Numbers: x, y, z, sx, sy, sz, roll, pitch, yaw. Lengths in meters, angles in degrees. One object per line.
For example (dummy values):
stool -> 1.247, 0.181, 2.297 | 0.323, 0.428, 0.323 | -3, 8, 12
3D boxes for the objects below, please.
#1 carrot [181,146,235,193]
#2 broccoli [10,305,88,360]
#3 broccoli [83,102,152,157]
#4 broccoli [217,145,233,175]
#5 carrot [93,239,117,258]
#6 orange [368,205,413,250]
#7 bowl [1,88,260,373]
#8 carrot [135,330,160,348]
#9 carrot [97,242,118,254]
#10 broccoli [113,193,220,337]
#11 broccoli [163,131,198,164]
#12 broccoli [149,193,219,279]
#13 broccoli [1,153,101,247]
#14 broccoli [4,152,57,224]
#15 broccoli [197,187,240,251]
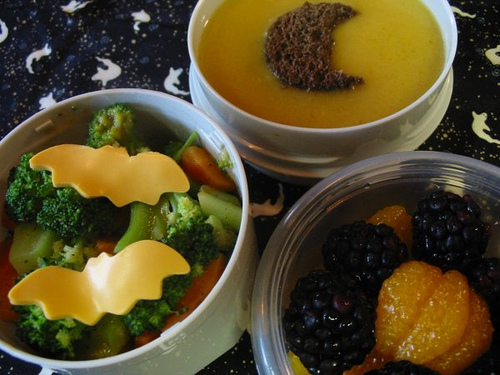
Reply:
carrot -> -0.113, -0.048, 1.301 | 0.147, 0.050, 0.085 | 35, 105, 8
broccoli -> -0.426, 0.301, 1.107 | 0.137, 0.056, 0.130 | -36, 95, 0
broccoli -> -0.324, -0.140, 1.248 | 0.081, 0.106, 0.123 | -12, 93, 17
broccoli -> -0.061, -0.070, 1.218 | 0.038, 0.022, 0.057 | -42, 56, 42
carrot -> -0.341, 0.138, 1.183 | 0.044, 0.010, 0.049 | 6, 63, -9
orange -> 0.353, 0.078, 1.279 | 0.102, 0.093, 0.089 | 23, 57, 38
bowl -> -0.277, 0.110, 1.265 | 0.558, 0.246, 0.735 | 0, 78, -1
carrot -> -0.225, 0.327, 1.106 | 0.042, 0.033, 0.016 | -15, 101, 6
carrot -> -0.333, 0.140, 1.182 | 0.030, 0.007, 0.032 | 13, 60, -5
broccoli -> -0.160, 0.201, 1.220 | 0.223, 0.078, 0.312 | 27, 79, 27
broccoli -> -0.173, -0.099, 1.275 | 0.066, 0.061, 0.082 | 19, 118, 31
broccoli -> -0.144, 0.109, 1.217 | 0.138, 0.071, 0.189 | -37, 64, 5
broccoli -> -0.452, 0.030, 1.244 | 0.225, 0.082, 0.197 | 23, 105, 14
broccoli -> -0.507, 0.006, 1.246 | 0.120, 0.093, 0.173 | -32, 80, 20
broccoli -> -0.067, 0.071, 1.197 | 0.115, 0.047, 0.126 | 27, 56, -17
